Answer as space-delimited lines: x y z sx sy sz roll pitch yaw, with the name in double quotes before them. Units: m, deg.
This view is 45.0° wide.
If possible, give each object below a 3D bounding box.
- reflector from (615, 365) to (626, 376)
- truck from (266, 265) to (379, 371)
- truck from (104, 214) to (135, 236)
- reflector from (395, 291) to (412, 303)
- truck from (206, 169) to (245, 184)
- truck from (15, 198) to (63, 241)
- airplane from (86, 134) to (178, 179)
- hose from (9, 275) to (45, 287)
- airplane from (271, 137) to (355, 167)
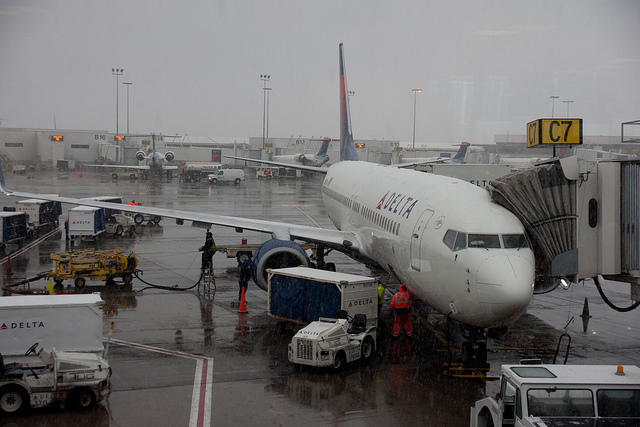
"reflector" 8.787 4.596 22.662 0.218 0.212 0.218 -1 -1 -33
"truck" 0.109 3.871 30.379 3.888 2.801 4.722 -5 14 -24
"truck" -13.349 0.739 50.728 1.742 1.027 1.067 1 5 34
"reflector" 3.277 3.324 30.740 0.510 0.494 0.316 -3 6 -1
"truck" -11.969 -4.838 98.326 4.074 1.612 2.015 0 4 -26
"truck" -18.187 0.388 49.572 2.270 3.089 7.991 -1 3 -6
"airplane" -26.479 -7.233 106.590 10.908 3.747 11.027 -15 19 -20
"hose" -14.204 3.249 37.356 1.993 0.272 0.279 -12 10 -43
"airplane" -3.455 -9.312 117.099 13.585 5.489 13.469 0 5 -43
